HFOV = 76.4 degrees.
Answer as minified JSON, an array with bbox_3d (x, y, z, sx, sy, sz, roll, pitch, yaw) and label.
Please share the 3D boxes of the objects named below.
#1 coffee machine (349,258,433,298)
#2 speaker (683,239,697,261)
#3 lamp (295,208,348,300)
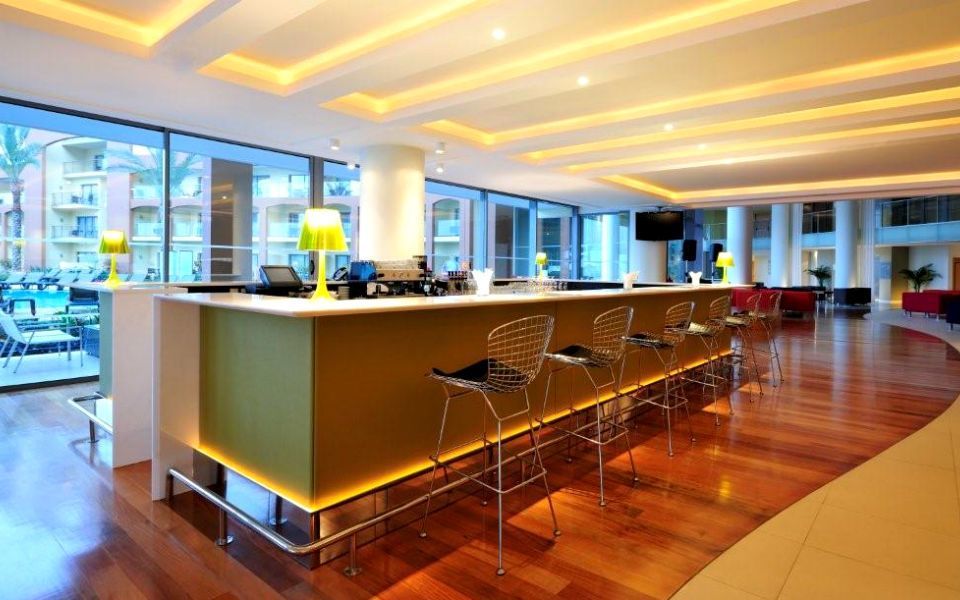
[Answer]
[{"bbox_3d":[-1.116,-0.295,7.934,0.947,0.443,1.190,2,5,25],"label":"coffee machine"},{"bbox_3d":[5.135,-1.237,14.943,0.307,0.507,0.206,-4,7,-37],"label":"speaker"},{"bbox_3d":[-1.345,-0.396,5.289,0.409,0.803,0.434,-2,6,-16],"label":"lamp"}]
